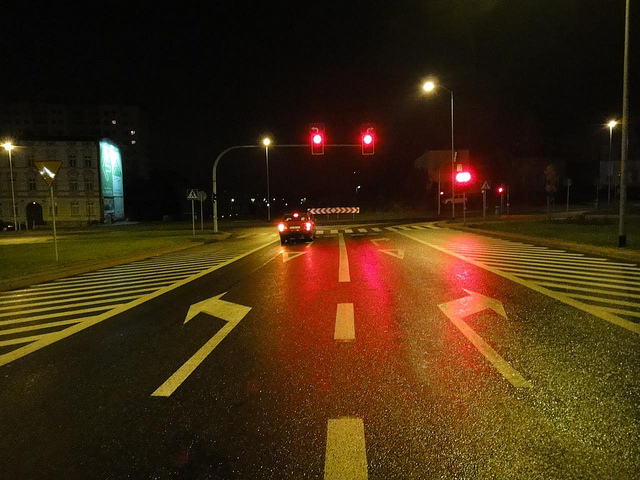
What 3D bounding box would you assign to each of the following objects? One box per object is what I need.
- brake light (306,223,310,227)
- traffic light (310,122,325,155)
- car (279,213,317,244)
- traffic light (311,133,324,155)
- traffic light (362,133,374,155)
[{"bbox_3d":[-0.578,-0.720,24.978,0.175,0.206,0.105,-2,13,-8],"label":"brake light"},{"bbox_3d":[-0.128,-5.304,28.243,0.725,1.530,1.795,-2,9,-1],"label":"traffic light"},{"bbox_3d":[-1.096,-0.550,25.746,1.454,1.385,1.798,-1,9,9],"label":"car"},{"bbox_3d":[-0.161,-5.085,28.290,0.771,1.700,0.860,-2,15,-3],"label":"traffic light"},{"bbox_3d":[2.557,-5.111,28.295,0.534,1.049,0.778,5,10,40],"label":"traffic light"}]
